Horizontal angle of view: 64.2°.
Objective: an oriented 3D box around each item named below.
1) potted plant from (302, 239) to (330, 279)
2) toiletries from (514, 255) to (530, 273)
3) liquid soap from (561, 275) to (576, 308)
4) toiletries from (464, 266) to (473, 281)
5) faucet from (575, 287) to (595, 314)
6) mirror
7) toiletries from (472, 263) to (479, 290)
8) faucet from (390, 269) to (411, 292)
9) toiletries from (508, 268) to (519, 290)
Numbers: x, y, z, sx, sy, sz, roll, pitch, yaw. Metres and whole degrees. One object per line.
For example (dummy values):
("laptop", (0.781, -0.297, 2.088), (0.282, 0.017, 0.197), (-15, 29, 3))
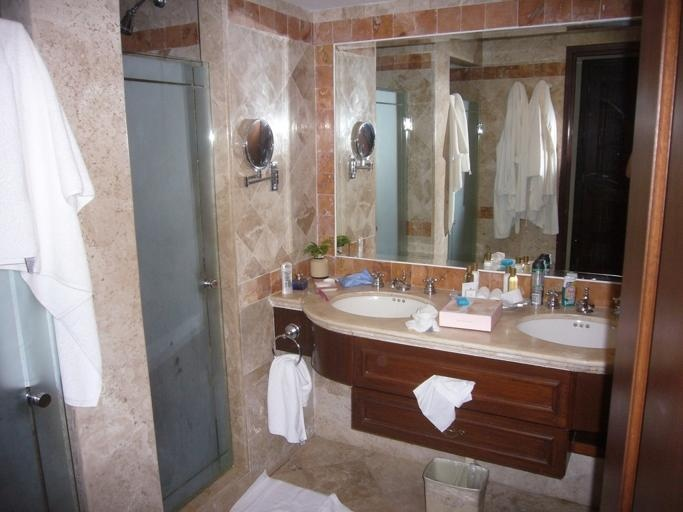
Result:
("potted plant", (-0.153, 0.001, 3.557), (0.224, 0.283, 0.199), (-2, 7, -17))
("toiletries", (1.025, 0.045, 3.068), (0.071, 0.078, 0.036), (12, 22, 35))
("liquid soap", (1.220, 0.185, 2.910), (0.067, 0.155, 0.139), (4, 10, 24))
("toiletries", (0.744, 0.099, 3.154), (0.045, 0.083, 0.083), (1, 10, 12))
("faucet", (1.283, 0.237, 2.854), (0.101, 0.131, 0.117), (6, 17, 30))
("mirror", (0.833, -0.640, 3.069), (1.423, 1.527, 0.101), (4, 8, 31))
("toiletries", (0.773, 0.121, 3.116), (0.044, 0.132, 0.176), (2, 10, 14))
("faucet", (0.364, 0.155, 3.344), (0.105, 0.132, 0.121), (10, 18, 26))
("toiletries", (0.966, 0.124, 3.048), (0.058, 0.126, 0.098), (3, 10, 20))
